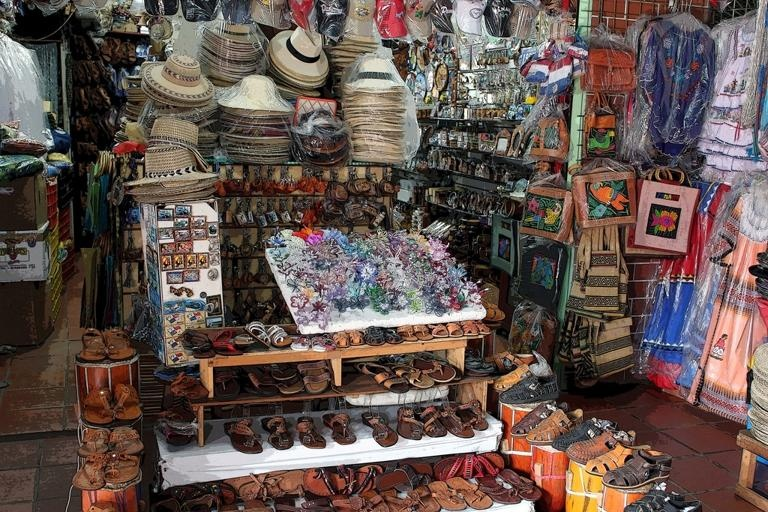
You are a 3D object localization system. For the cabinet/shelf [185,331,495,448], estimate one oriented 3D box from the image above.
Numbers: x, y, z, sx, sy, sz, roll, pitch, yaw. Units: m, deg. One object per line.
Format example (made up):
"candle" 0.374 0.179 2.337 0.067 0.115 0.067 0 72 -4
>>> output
"cabinet/shelf" -0.411 0.866 4.191 2.042 0.658 0.667 -4 16 -4
